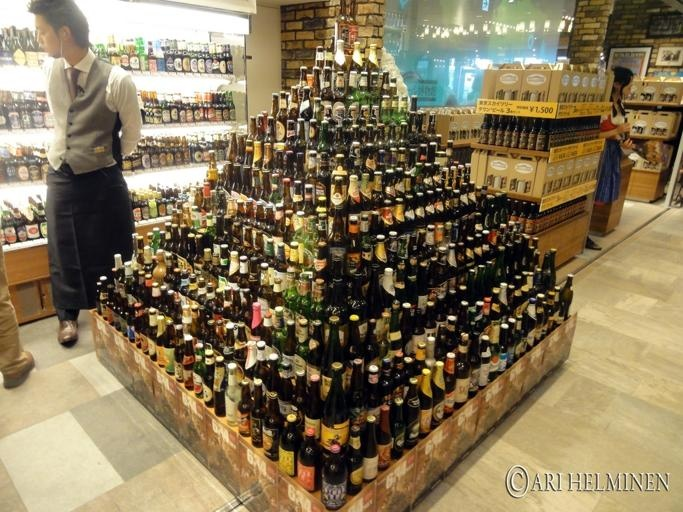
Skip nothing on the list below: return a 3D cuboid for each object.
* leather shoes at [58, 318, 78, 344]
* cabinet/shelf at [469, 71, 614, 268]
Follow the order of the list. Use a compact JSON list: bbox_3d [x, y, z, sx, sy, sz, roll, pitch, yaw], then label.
[{"bbox_3d":[-2.358,0.646,4.324,0.099,0.124,0.297,-8,15,-33],"label":"leather shoes"},{"bbox_3d":[2.051,-0.913,5.144,1.062,2.330,1.638,18,26,40],"label":"cabinet/shelf"}]
